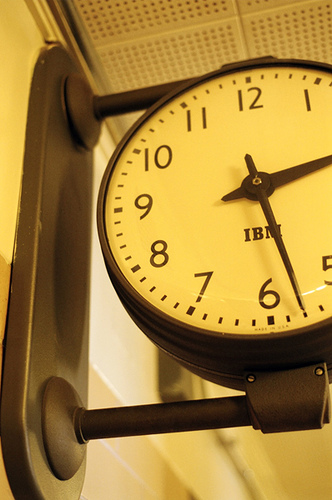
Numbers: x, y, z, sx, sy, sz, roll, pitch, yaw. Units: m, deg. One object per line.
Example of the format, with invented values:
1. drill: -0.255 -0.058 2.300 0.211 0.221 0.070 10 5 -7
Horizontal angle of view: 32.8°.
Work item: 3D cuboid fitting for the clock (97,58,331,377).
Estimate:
1. clock: 0.097 -0.083 0.830 0.466 0.452 0.112 -11 -31 14
